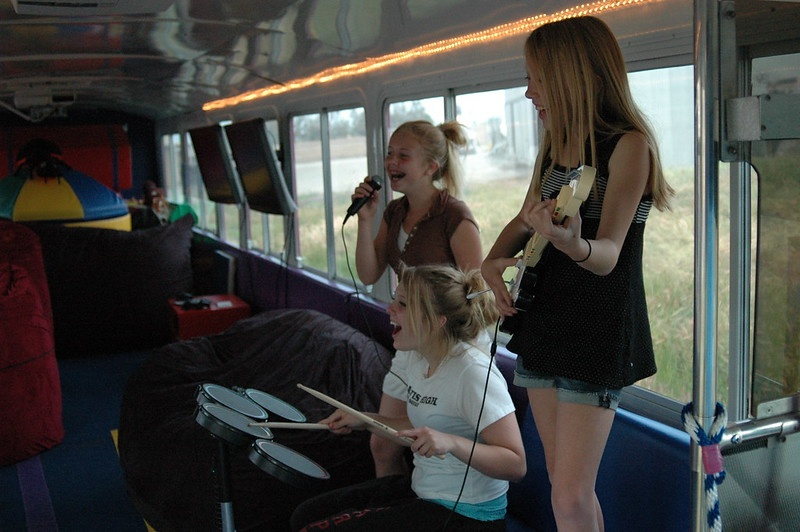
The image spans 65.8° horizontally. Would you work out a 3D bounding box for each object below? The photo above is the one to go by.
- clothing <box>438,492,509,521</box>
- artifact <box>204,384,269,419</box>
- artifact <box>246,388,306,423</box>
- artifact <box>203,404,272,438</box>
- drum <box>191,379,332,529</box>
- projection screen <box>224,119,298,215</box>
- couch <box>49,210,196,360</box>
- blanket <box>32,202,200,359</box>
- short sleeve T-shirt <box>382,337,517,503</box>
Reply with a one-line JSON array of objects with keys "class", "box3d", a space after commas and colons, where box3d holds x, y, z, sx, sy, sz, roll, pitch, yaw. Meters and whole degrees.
[{"class": "clothing", "box3d": [0.330, 1.007, 2.582, 0.176, 0.082, 0.134, 2, -1, 10]}, {"class": "artifact", "box3d": [-0.717, 0.573, 2.657, 0.180, 0.045, 0.180, 25, 1, -32]}, {"class": "artifact", "box3d": [-0.538, 0.632, 2.771, 0.188, 0.046, 0.185, 29, 1, 38]}, {"class": "artifact", "box3d": [-0.655, 0.614, 2.461, 0.181, 0.046, 0.179, 30, -3, -40]}, {"class": "drum", "box3d": [-0.702, 0.981, 3.083, 0.550, 0.850, 0.707, -1, 33, -30]}, {"class": "projection screen", "box3d": [-1.318, -0.917, 5.813, 0.226, 0.854, 0.916, -22, 21, -32]}, {"class": "couch", "box3d": [-3.312, 0.111, 7.289, 1.767, 1.715, 0.688, -5, 8, -1]}, {"class": "blanket", "box3d": [-3.324, 0.179, 7.280, 1.691, 1.632, 0.684, -3, -2, -12]}, {"class": "short sleeve T-shirt", "box3d": [0.199, 0.595, 2.891, 0.524, 0.815, 0.966, 3, -2, -20]}]
